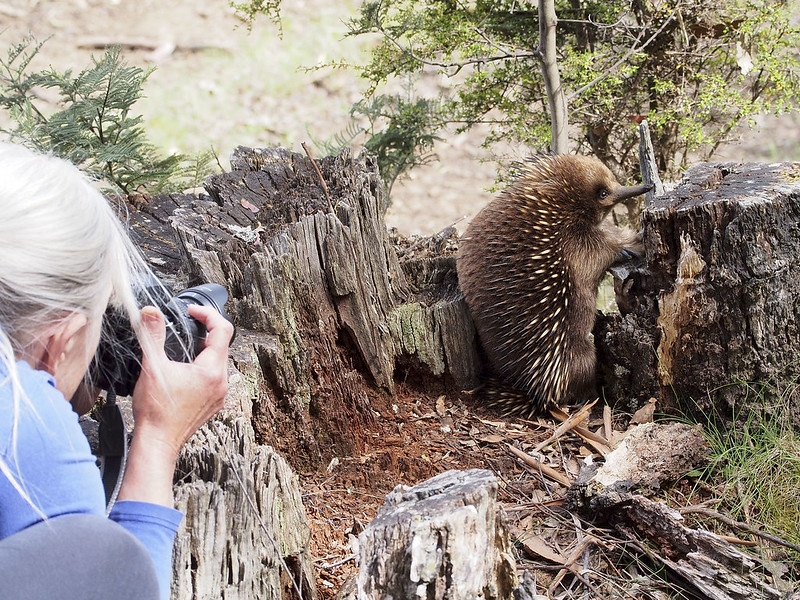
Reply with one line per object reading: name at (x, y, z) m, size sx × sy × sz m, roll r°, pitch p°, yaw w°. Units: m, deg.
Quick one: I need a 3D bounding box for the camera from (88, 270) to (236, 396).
camera at (-0.905, 0.091, 3.887) m, size 0.590 × 0.348 × 0.533 m, roll -24°, pitch 24°, yaw 5°
